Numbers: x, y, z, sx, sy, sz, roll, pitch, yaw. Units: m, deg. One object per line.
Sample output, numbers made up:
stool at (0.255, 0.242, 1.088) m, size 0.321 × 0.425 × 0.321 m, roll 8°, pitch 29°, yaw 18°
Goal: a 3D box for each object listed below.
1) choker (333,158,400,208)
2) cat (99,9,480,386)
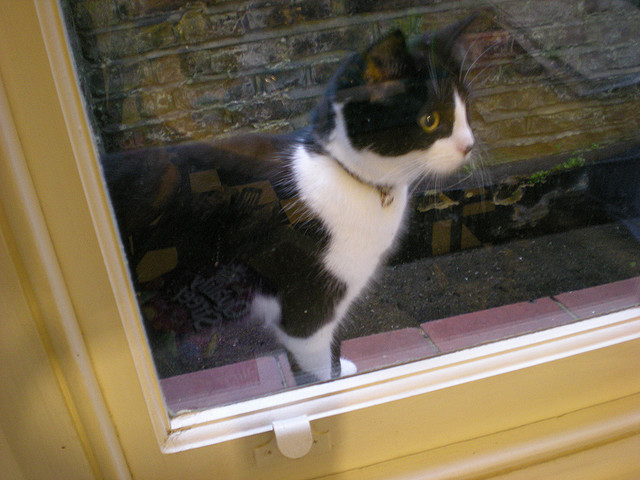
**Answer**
choker at (0.084, -0.091, 1.128) m, size 0.105 × 0.088 × 0.041 m, roll 6°, pitch 11°, yaw 11°
cat at (-0.109, -0.033, 1.252) m, size 0.796 × 0.719 × 0.305 m, roll -2°, pitch 16°, yaw 10°
